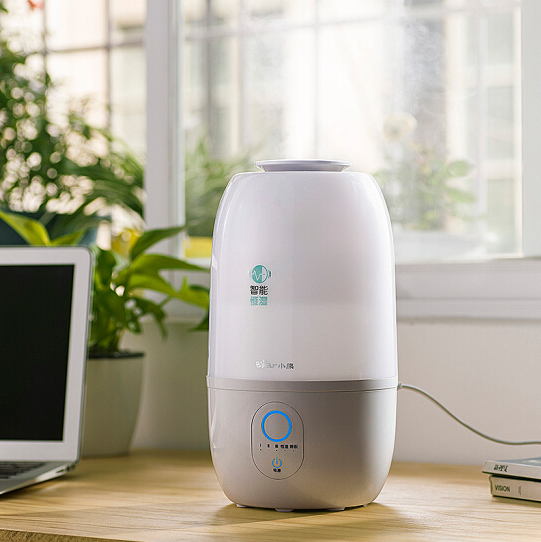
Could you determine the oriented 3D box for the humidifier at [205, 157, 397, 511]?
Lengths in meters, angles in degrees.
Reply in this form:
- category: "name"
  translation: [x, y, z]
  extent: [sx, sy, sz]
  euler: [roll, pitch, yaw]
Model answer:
- category: "humidifier"
  translation: [0.031, 0.072, 0.797]
  extent: [0.188, 0.351, 0.090]
  euler: [-1, 4, -2]
